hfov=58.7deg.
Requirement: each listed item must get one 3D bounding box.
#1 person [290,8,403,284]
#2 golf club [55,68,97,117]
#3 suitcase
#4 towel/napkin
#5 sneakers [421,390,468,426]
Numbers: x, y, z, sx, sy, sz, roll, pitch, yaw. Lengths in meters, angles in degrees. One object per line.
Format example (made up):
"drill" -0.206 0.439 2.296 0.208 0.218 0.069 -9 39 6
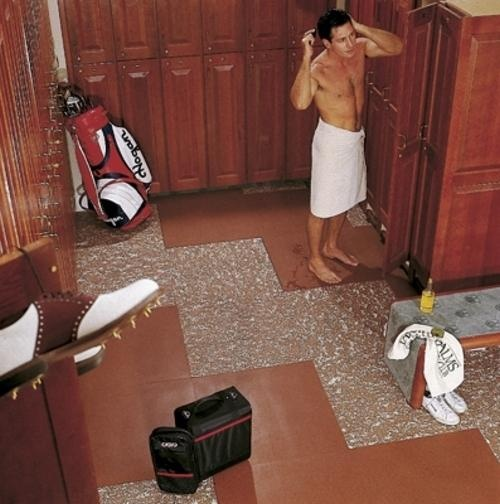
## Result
"person" 0.681 -0.789 3.516 0.596 1.986 0.819 21 41 32
"golf club" -1.678 -1.448 4.147 0.278 0.442 0.170 -40 22 -16
"suitcase" -0.255 0.993 2.297 0.435 0.316 0.237 -13 36 -19
"towel/napkin" 1.015 0.565 2.518 0.427 0.390 0.116 49 17 14
"sneakers" 1.160 0.917 2.645 0.214 0.073 0.165 27 50 32
